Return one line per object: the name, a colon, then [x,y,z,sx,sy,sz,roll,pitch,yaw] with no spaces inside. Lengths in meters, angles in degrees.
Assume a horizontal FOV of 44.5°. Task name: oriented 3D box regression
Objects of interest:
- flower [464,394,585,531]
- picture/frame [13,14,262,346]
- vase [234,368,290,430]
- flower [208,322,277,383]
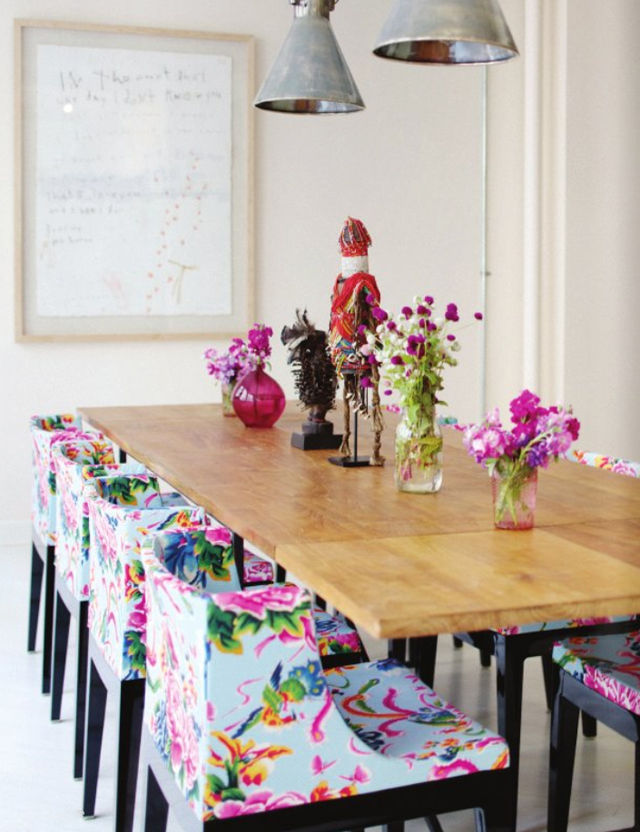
flower: [0.332,0.069,1.244,0.182,0.206,0.176,5,-2,-2]
picture/frame: [-1.038,-1.301,4.428,1.324,1.736,0.141,-2,4,-15]
vase: [-0.175,-0.071,2.698,0.208,0.272,0.194,1,8,-2]
flower: [-0.276,-0.220,2.849,0.182,0.222,0.363,-4,4,-31]
